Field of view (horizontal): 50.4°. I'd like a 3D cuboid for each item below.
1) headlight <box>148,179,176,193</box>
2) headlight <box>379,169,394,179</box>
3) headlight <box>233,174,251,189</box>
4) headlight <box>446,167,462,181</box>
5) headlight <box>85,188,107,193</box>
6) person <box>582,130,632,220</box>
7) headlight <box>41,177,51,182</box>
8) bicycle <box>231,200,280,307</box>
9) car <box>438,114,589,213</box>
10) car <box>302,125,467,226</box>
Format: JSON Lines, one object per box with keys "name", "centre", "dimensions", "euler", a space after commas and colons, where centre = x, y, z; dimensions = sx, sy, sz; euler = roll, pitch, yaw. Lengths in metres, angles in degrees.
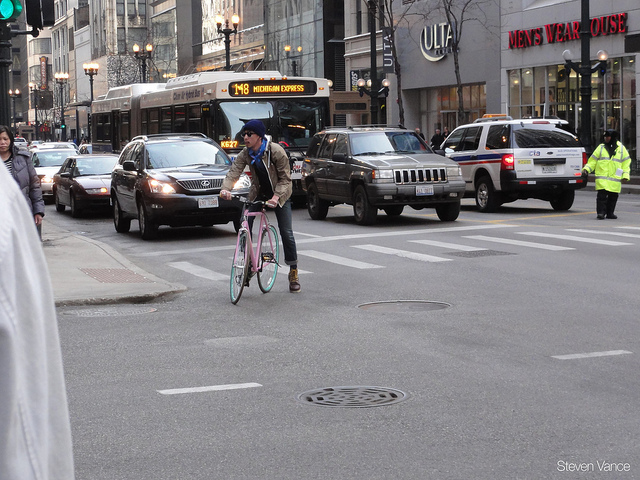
{"name": "headlight", "centre": [-3.800, -1.302, 16.289], "dimensions": [0.759, 0.318, 0.281], "euler": [3, 8, 34]}
{"name": "headlight", "centre": [1.678, -1.692, 17.288], "dimensions": [0.334, 0.233, 0.078], "euler": [-1, 6, 5]}
{"name": "headlight", "centre": [-1.945, -1.462, 17.078], "dimensions": [0.338, 0.333, 0.614], "euler": [-2, -7, -19]}
{"name": "headlight", "centre": [3.498, -1.746, 17.722], "dimensions": [0.346, 0.233, 0.354], "euler": [-5, 8, -30]}
{"name": "headlight", "centre": [-7.287, -1.646, 22.340], "dimensions": [0.644, 0.149, 0.097], "euler": [-5, 7, -18]}
{"name": "person", "centre": [7.550, -1.753, 17.950], "dimensions": [1.047, 2.310, 1.360], "euler": [1, 7, 26]}
{"name": "headlight", "centre": [-11.141, -2.485, 27.809], "dimensions": [0.383, 0.181, 0.148], "euler": [-1, 7, 5]}
{"name": "bicycle", "centre": [-0.949, 0.118, 10.004], "dimensions": [0.669, 1.438, 1.533], "euler": [-2, 7, -4]}
{"name": "car", "centre": [5.567, -2.499, 21.086], "dimensions": [2.396, 2.262, 4.514], "euler": [-2, 9, -18]}
{"name": "car", "centre": [1.611, -1.869, 18.824], "dimensions": [2.341, 2.682, 4.643], "euler": [-7, 9, -38]}
